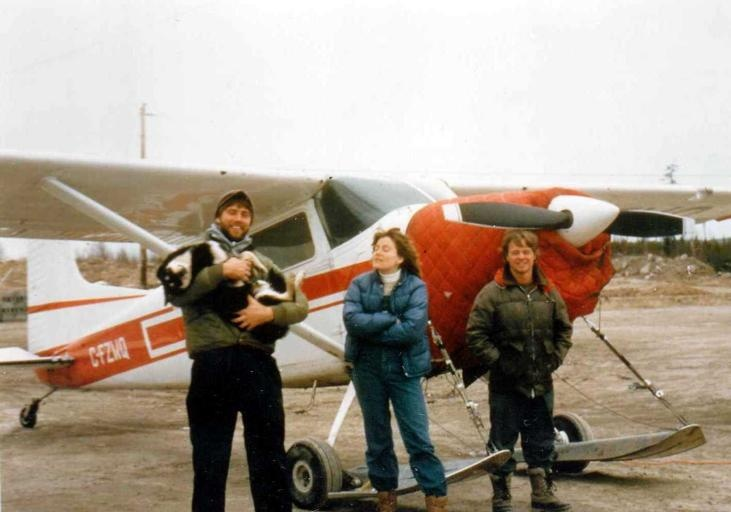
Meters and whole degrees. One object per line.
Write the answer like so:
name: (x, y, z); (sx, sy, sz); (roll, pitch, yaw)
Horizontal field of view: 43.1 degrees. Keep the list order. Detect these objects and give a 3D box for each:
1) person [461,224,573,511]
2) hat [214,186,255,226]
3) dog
person: (1.173, 0.881, 7.094); (0.799, 2.154, 0.236); (-2, 2, 9)
hat: (-0.947, -0.371, 6.605); (0.220, 0.243, 0.095); (5, 4, -4)
dog: (-0.945, 0.256, 6.461); (0.941, 0.337, 0.640); (22, 38, -12)
